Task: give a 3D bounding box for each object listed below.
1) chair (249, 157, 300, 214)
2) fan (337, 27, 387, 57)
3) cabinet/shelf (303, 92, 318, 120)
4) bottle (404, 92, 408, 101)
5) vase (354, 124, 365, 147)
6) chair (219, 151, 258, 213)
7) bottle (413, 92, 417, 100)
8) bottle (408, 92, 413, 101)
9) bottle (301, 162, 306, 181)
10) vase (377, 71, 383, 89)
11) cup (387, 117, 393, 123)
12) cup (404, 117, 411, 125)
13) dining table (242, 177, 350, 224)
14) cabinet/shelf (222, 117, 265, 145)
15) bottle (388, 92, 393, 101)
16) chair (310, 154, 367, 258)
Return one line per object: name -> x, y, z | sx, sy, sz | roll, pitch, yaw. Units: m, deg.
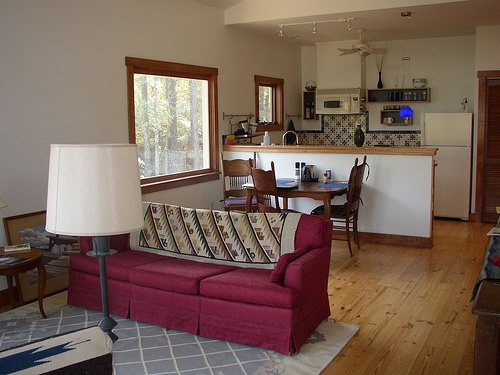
chair -> 0.379, 0.105, 5.295 | 0.583, 0.959, 0.624 | 2, 13, 31
fan -> 1.879, -2.462, 6.335 | 0.872, 0.444, 0.836 | 3, 14, 32
cabinet/shelf -> 1.465, -1.962, 8.964 | 0.351, 0.676, 0.248 | 5, 10, 34
bottle -> 3.314, -1.934, 7.954 | 0.080, 0.154, 0.027 | 5, 10, 32
vase -> 1.795, -0.823, 6.177 | 0.152, 0.294, 0.605 | 2, 9, 15
chair -> -0.196, -0.065, 6.188 | 0.681, 1.306, 0.783 | -1, 4, -8
bottle -> 3.476, -1.925, 7.895 | 0.080, 0.147, 0.069 | 3, 9, 21
bottle -> 3.389, -1.936, 7.921 | 0.091, 0.156, 0.044 | 3, 9, 21
bottle -> 0.859, -0.236, 5.978 | 0.034, 0.333, 0.253 | 1, 6, 16
vase -> 2.851, -2.343, 8.166 | 0.133, 0.389, 0.151 | 2, 9, 19
cup -> 3.056, -1.457, 8.143 | 0.152, 0.138, 0.098 | -6, 10, -33
cup -> 3.370, -1.424, 8.004 | 0.087, 0.165, 0.169 | 2, 0, -40
dining table -> 0.951, 0.081, 5.440 | 0.911, 0.468, 0.688 | 2, 6, 29
cabinet/shelf -> -0.119, -1.075, 7.264 | 0.816, 0.569, 0.597 | -12, -3, -18
bottle -> 3.048, -1.981, 8.112 | 0.128, 0.247, 0.131 | -2, 6, 0
chair -> 1.295, 0.273, 5.602 | 0.810, 1.416, 0.710 | 2, 10, 31
